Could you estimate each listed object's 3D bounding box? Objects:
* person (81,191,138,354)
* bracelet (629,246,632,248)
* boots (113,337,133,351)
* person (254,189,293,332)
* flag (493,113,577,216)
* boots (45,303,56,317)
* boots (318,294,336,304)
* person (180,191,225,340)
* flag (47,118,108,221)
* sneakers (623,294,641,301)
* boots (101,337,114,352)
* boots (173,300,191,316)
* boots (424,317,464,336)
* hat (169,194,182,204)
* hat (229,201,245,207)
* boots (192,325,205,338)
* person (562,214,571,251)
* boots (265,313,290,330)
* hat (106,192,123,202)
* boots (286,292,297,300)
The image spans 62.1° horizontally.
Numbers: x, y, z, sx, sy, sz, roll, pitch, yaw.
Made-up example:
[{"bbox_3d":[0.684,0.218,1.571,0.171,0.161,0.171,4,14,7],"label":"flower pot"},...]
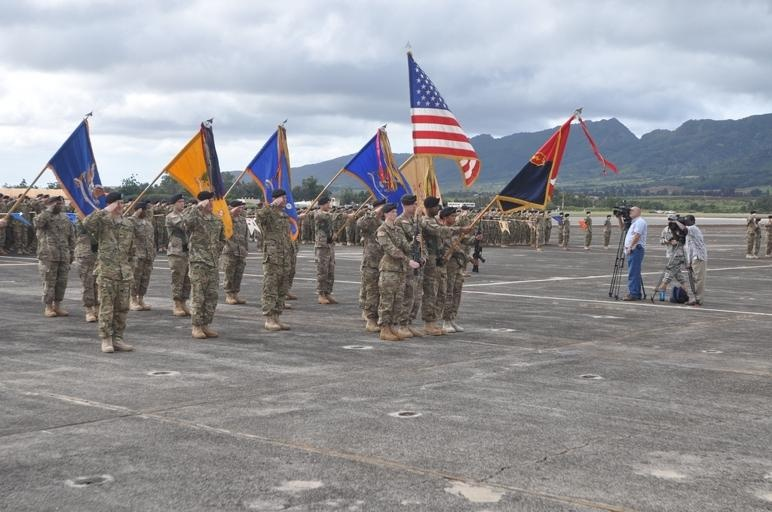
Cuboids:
[{"bbox_3d":[-4.482,0.249,10.428,0.703,2.580,0.881,1,1,-24],"label":"person"},{"bbox_3d":[6.351,-0.184,16.668,0.054,0.049,0.093,7,12,32],"label":"bracelet"},{"bbox_3d":[-4.208,1.452,10.287,0.321,0.181,0.270,1,1,-9],"label":"boots"},{"bbox_3d":[-2.179,0.070,12.507,0.664,2.716,0.899,1,1,-7],"label":"person"},{"bbox_3d":[3.103,-1.769,13.151,1.228,1.617,1.859,2,1,19],"label":"flag"},{"bbox_3d":[-6.959,1.168,13.336,0.235,0.237,0.366,1,1,-29],"label":"boots"},{"bbox_3d":[-1.474,1.125,15.910,0.391,0.354,0.196,-1,-1,23],"label":"boots"},{"bbox_3d":[-3.321,0.138,11.678,0.667,2.654,1.030,1,1,-15],"label":"person"},{"bbox_3d":[-6.064,-1.743,12.771,1.076,1.980,0.663,2,1,24],"label":"flag"},{"bbox_3d":[6.430,1.127,16.799,0.527,0.219,0.182,1,-1,-5],"label":"sneakers"},{"bbox_3d":[-4.390,1.424,10.134,0.197,0.251,0.264,1,1,-23],"label":"boots"},{"bbox_3d":[-4.480,1.190,13.939,0.376,0.469,0.282,-8,-8,30],"label":"boots"},{"bbox_3d":[1.052,1.406,12.253,0.865,0.338,0.272,-6,6,-8],"label":"boots"},{"bbox_3d":[-4.428,-1.189,13.480,0.263,0.112,0.202,-15,-7,32],"label":"hat"},{"bbox_3d":[-3.184,-1.088,13.685,0.254,0.072,0.175,0,1,20],"label":"hat"},{"bbox_3d":[-3.291,1.372,11.335,0.241,0.204,0.307,1,1,-18],"label":"boots"},{"bbox_3d":[11.010,-1.424,39.274,0.371,1.899,1.009,2,1,21],"label":"person"},{"bbox_3d":[-2.076,1.277,12.297,0.334,0.338,0.362,-2,-3,26],"label":"boots"},{"bbox_3d":[-4.513,-0.954,10.660,0.219,0.080,0.177,-10,2,-14],"label":"hat"},{"bbox_3d":[-2.435,1.074,16.515,0.306,0.264,0.123,-1,13,3],"label":"boots"}]
